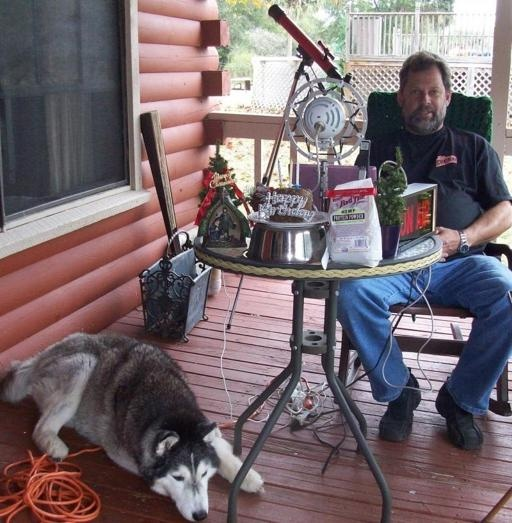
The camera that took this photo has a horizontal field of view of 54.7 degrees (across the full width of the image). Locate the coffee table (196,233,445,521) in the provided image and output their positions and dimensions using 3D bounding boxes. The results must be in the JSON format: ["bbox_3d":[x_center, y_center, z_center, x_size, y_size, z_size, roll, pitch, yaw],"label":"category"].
[{"bbox_3d":[0.146,0.328,1.983,0.935,0.955,0.953,2,10,6],"label":"coffee table"}]

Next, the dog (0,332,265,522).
[{"bbox_3d":[-0.496,0.571,1.942,0.954,0.313,0.496,20,21,29],"label":"dog"}]
